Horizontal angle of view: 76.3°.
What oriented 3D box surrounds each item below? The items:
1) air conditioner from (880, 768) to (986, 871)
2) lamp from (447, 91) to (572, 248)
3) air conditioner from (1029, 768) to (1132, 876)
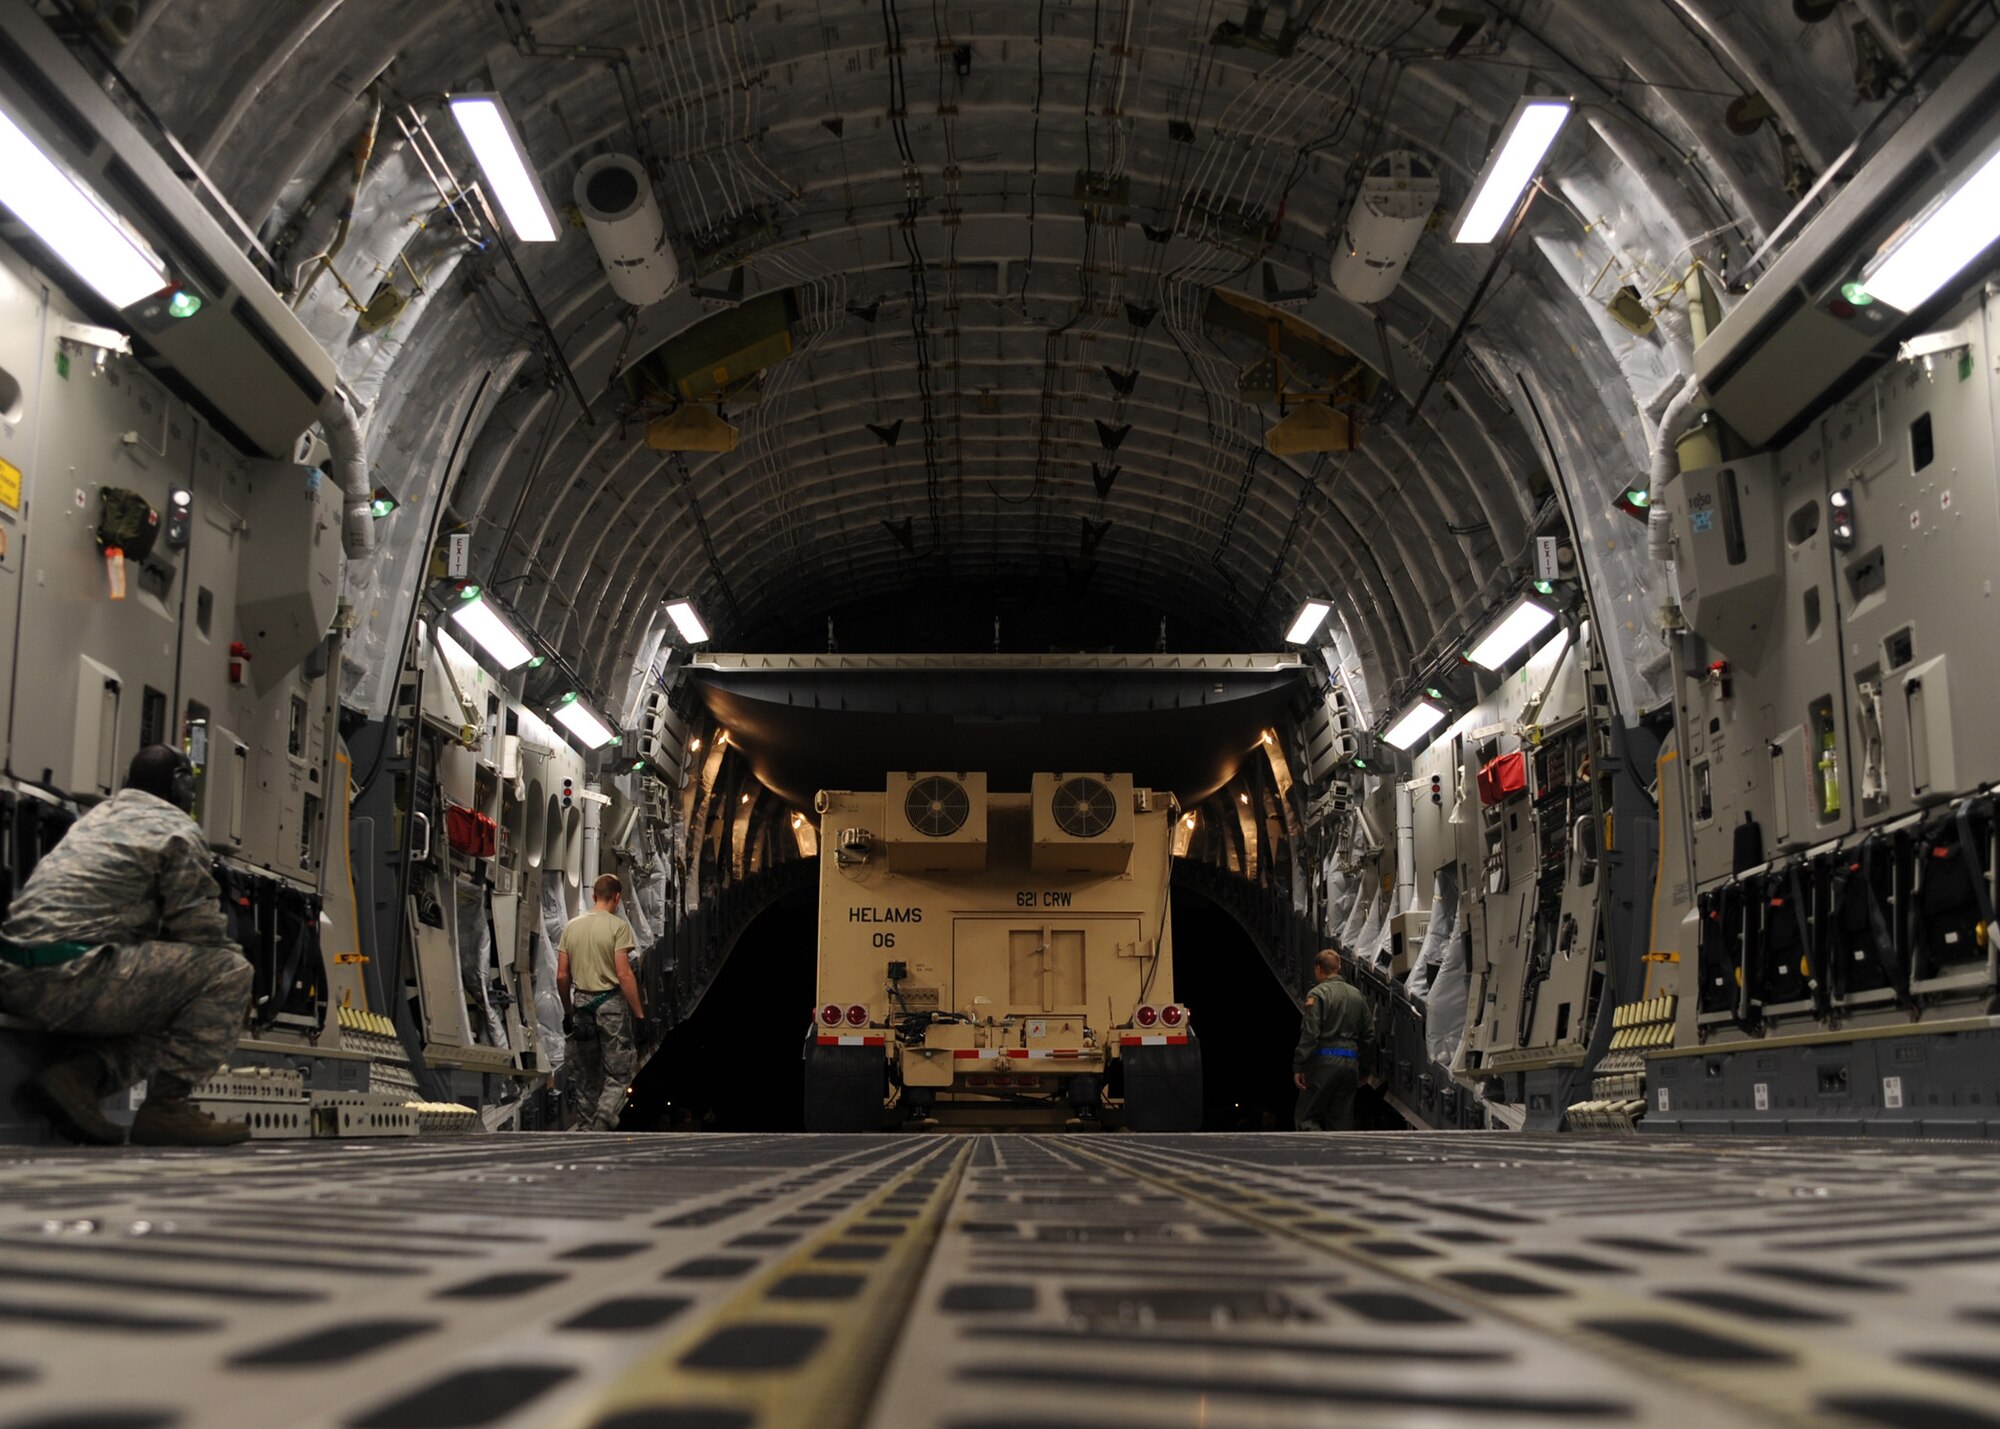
[{"bbox_3d":[-0.832,1.637,16.438,1.324,1.123,1.583,-4,-44,0],"label":"air conditioner"},{"bbox_3d":[-4.311,-4.719,11.018,0.421,0.124,1.658,-1,-32,6],"label":"lamp"},{"bbox_3d":[1.057,1.316,16.383,1.026,0.933,1.157,0,-17,1],"label":"air conditioner"}]
